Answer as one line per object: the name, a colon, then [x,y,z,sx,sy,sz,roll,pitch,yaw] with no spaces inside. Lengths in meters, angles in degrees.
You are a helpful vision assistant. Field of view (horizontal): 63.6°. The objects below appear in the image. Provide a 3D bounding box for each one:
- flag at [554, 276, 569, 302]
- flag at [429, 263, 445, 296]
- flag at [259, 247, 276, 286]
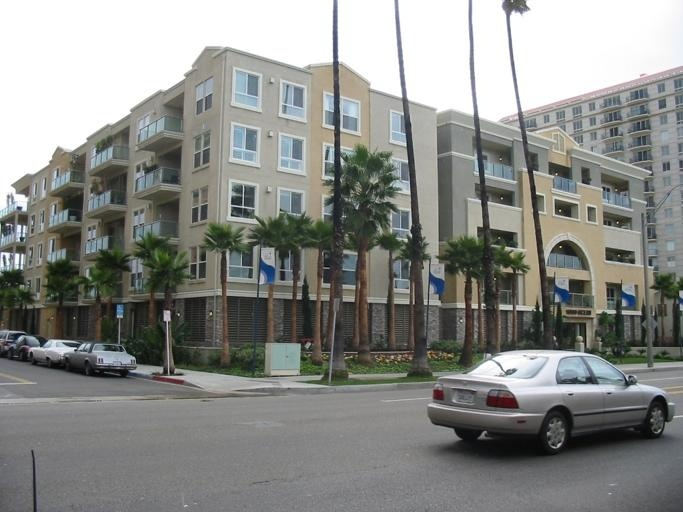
flag: [17.165,2.592,43.073,0.932,1.948,2.078,-5,-11,19]
flag: [5.954,1.426,34.590,0.872,1.835,1.119,-2,-10,6]
flag: [-3.656,0.382,27.091,0.637,1.793,1.361,1,-10,-13]
